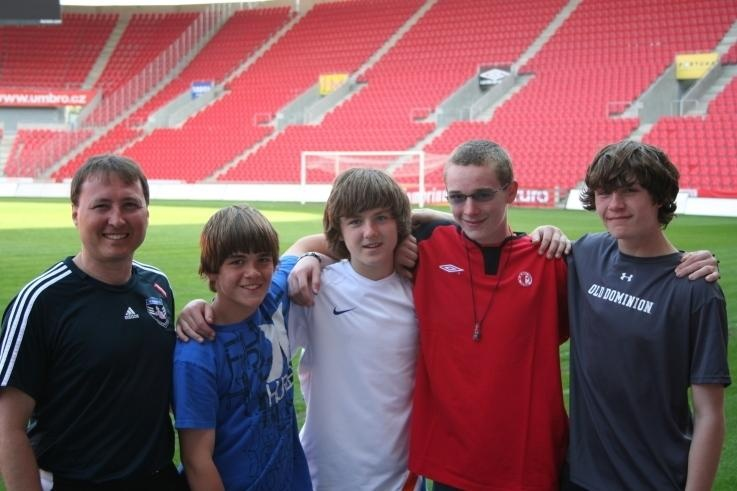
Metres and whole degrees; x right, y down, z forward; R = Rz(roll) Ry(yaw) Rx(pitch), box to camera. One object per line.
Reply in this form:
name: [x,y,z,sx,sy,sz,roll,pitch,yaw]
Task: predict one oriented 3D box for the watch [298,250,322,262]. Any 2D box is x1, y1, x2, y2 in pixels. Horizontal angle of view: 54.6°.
watch: [-0.314,0.050,3.946,0.087,0.080,0.058,3,34,-5]
